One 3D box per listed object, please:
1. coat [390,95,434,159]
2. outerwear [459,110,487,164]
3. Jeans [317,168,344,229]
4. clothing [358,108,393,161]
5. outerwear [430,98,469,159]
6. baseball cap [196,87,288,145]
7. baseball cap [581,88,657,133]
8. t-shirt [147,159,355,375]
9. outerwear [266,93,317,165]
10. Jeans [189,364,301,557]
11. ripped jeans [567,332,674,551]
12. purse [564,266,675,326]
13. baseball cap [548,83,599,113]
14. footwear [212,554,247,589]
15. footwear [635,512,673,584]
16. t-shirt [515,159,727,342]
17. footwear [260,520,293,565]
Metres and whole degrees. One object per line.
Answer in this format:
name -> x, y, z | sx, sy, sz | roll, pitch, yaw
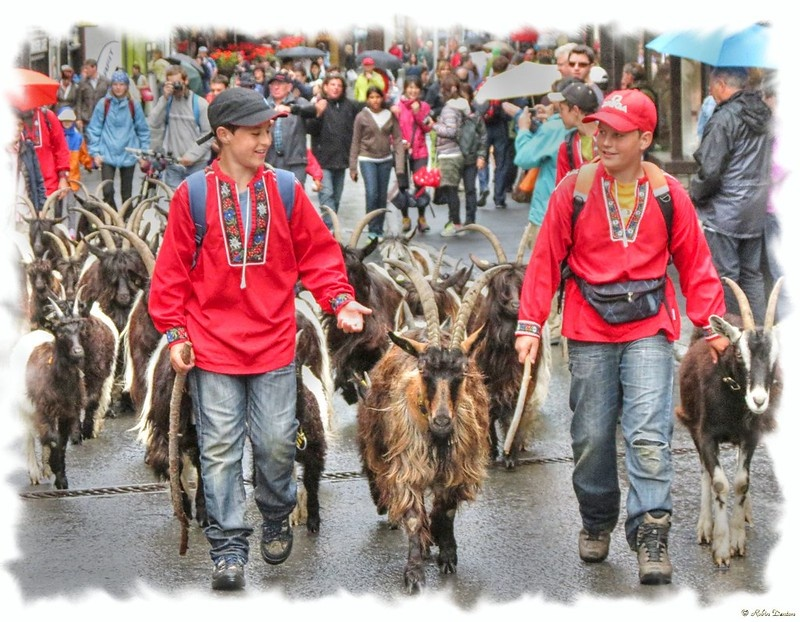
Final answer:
coat -> 0.206, -2.810, 15.876 | 0.699, 0.890, 0.351 | -3, -11, -17
outerwear -> 1.069, -2.560, 15.024 | 0.435, 0.783, 0.735 | 0, 11, 12
Jeans -> -0.945, -1.596, 14.356 | 0.343, 1.199, 0.256 | -1, -30, -3
clothing -> -0.366, -2.481, 14.269 | 0.703, 0.807, 0.503 | -5, 11, -27
outerwear -> 0.779, -2.715, 15.144 | 0.619, 0.926, 0.759 | 4, 18, 11
baseball cap -> -0.866, -1.072, 5.495 | 0.371, 0.159, 0.257 | -17, 13, 21
baseball cap -> 1.232, -1.106, 5.681 | 0.362, 0.200, 0.249 | 11, 14, -21
t-shirt -> -0.829, -0.224, 5.519 | 1.089, 1.122, 0.376 | -5, 13, -14
outerwear -> -1.542, -2.247, 13.089 | 0.808, 0.965, 0.642 | -4, -6, 8
Jeans -> -0.829, 0.807, 5.610 | 0.629, 1.301, 0.440 | 3, -9, -8
ripped jeans -> 1.251, 0.722, 5.772 | 0.662, 1.180, 0.420 | 4, 14, 24
purse -> 1.357, -0.110, 5.885 | 0.564, 0.223, 0.593 | -6, 12, 6
baseball cap -> 1.324, -1.557, 7.665 | 0.421, 0.229, 0.283 | 12, 23, 4
footwear -> -0.943, 1.413, 5.460 | 0.200, 0.202, 0.141 | 0, 13, 5
footwear -> 1.402, 1.306, 5.545 | 0.194, 0.345, 0.239 | 1, 13, 12
t-shirt -> 1.365, -0.359, 6.117 | 1.741, 1.354, 0.610 | 0, 4, 9
footwear -> -0.703, 1.309, 5.674 | 0.116, 0.127, 0.331 | -2, 9, -5
